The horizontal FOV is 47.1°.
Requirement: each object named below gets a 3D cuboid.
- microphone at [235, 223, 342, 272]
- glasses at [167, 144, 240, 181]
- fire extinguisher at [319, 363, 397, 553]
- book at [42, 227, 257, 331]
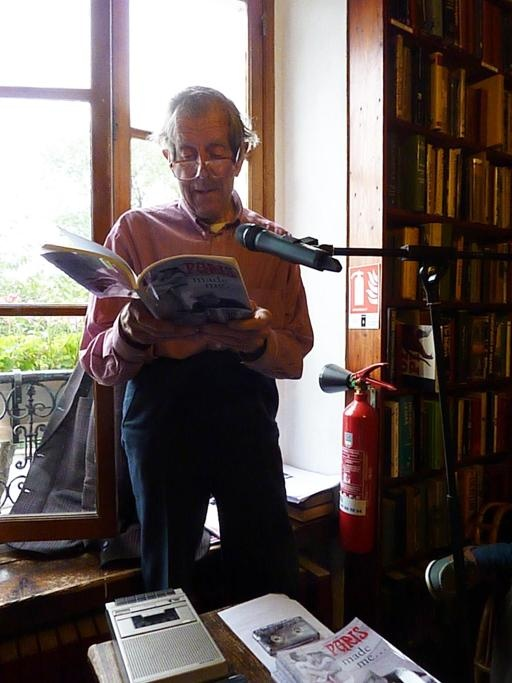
[{"bbox_3d":[0.040,-0.160,1.019,0.209,0.062,0.060,28,35,33],"label":"microphone"},{"bbox_3d":[-0.116,-0.374,1.263,0.133,0.057,0.067,-3,5,-8],"label":"glasses"},{"bbox_3d":[0.311,0.357,1.809,0.084,0.582,0.261,-7,7,-42],"label":"fire extinguisher"},{"bbox_3d":[-0.152,-0.096,0.977,0.252,0.086,0.189,-5,9,-34],"label":"book"}]
